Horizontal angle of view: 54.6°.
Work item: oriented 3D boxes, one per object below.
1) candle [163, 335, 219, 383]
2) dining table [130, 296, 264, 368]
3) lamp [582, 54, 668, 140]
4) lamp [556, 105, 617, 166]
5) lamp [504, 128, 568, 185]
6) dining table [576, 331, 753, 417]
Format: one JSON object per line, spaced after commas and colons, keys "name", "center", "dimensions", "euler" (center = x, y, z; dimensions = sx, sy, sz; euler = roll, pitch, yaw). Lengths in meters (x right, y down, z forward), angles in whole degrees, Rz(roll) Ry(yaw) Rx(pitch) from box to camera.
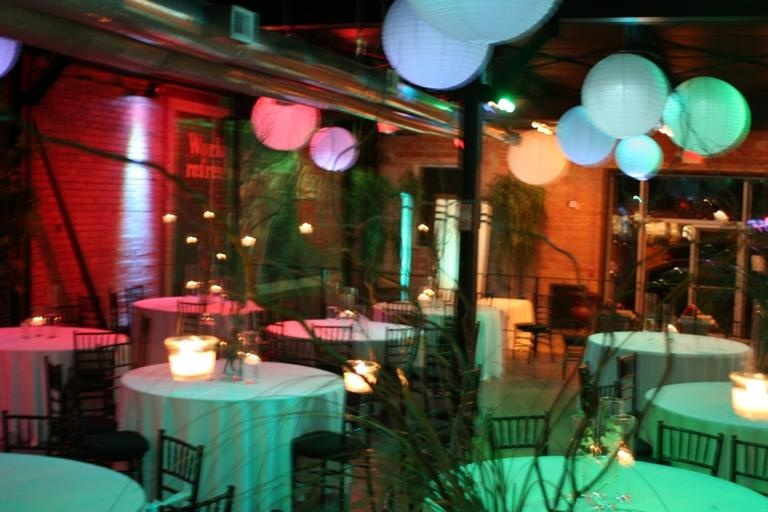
{"name": "candle", "center": [-1.325, 0.697, 5.106], "dimensions": [0.438, 0.224, 0.357], "euler": [0, -4, -2]}
{"name": "dining table", "center": [-1.583, 0.645, 6.272], "dimensions": [1.456, 0.620, 1.240], "euler": [0, -2, -2]}
{"name": "lamp", "center": [1.906, -1.232, 6.064], "dimensions": [0.780, 0.649, 0.707], "euler": [0, 1, 23]}
{"name": "lamp", "center": [2.279, -1.356, 8.646], "dimensions": [0.910, 0.751, 0.782], "euler": [2, 2, 6]}
{"name": "lamp", "center": [2.285, -1.532, 11.329], "dimensions": [0.818, 0.793, 0.430], "euler": [-2, -4, 10]}
{"name": "dining table", "center": [2.698, 0.937, 6.641], "dimensions": [1.905, 0.507, 1.646], "euler": [0, -1, 9]}
